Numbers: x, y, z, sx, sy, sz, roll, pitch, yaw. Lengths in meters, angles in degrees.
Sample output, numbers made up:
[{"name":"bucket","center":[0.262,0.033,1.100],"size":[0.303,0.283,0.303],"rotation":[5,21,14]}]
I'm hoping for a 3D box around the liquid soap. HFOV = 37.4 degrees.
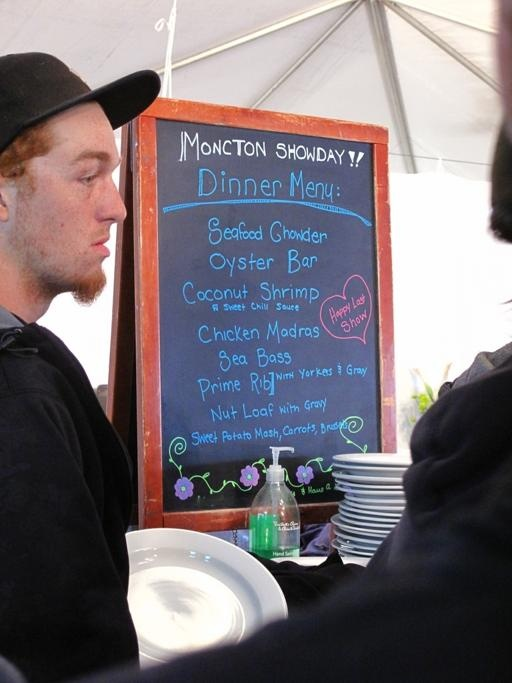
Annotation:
[{"name":"liquid soap","center":[0.040,0.324,1.494],"size":[0.093,0.223,0.098],"rotation":[-1,0,-4]}]
